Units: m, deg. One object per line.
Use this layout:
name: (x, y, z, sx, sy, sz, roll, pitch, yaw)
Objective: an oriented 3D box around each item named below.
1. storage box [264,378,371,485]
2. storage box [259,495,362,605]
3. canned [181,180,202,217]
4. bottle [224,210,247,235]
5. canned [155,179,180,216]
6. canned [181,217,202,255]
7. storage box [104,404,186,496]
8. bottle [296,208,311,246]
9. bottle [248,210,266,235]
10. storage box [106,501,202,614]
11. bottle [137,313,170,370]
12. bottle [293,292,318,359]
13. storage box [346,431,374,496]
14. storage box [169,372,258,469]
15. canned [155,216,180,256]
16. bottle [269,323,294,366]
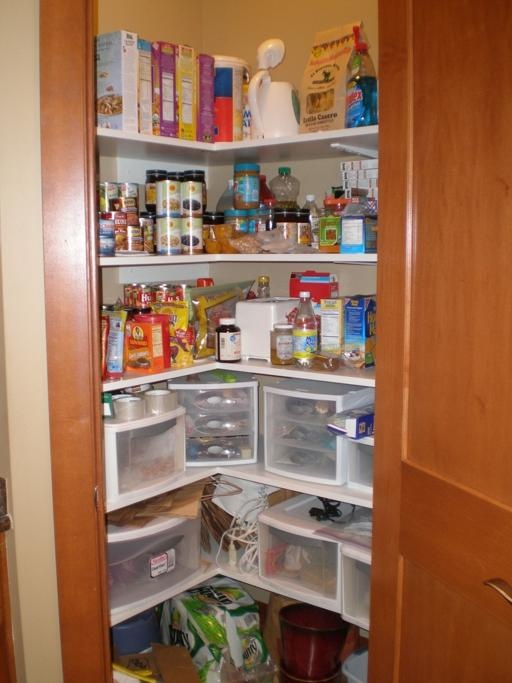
storage box: (0.172, 0.271, 1.692, 0.265, 0.276, 0.203, 4, 5, 28)
storage box: (0.193, 0.678, 1.695, 0.334, 0.342, 0.200, 13, -33, -30)
canned: (-0.193, -0.423, 1.618, 0.089, 0.102, 0.088, -11, 18, -42)
bottle: (-0.060, -0.379, 1.740, 0.075, 0.087, 0.076, 11, 17, 42)
canned: (-0.259, -0.418, 1.600, 0.092, 0.107, 0.094, -3, 11, -19)
canned: (-0.186, -0.326, 1.698, 0.055, 0.111, 0.140, 0, 9, 16)
storage box: (-0.345, 0.309, 1.572, 0.161, 0.208, 0.290, 1, 3, 30)
bottle: (0.144, -0.348, 1.662, 0.020, 0.106, 0.065, 4, 11, 36)
bottle: (0.006, -0.380, 1.732, 0.072, 0.079, 0.074, 1, 6, 2)
storage box: (-0.311, 0.653, 1.620, 0.300, 0.204, 0.222, -20, -18, -2)
bottle: (-0.293, -0.001, 1.537, 0.064, 0.201, 0.115, -12, 17, -41)
bottle: (0.142, -0.044, 1.596, 0.074, 0.203, 0.122, -1, 9, 7)
storage box: (0.291, 0.342, 1.518, 0.038, 0.133, 0.091, -9, 11, -38)
storage box: (-0.136, 0.283, 1.861, 0.265, 0.279, 0.202, -1, -7, -4)
canned: (-0.260, -0.313, 1.624, 0.075, 0.110, 0.047, -3, 9, -8)
bottle: (0.073, 0.008, 1.624, 0.067, 0.123, 0.040, -1, 8, 8)
